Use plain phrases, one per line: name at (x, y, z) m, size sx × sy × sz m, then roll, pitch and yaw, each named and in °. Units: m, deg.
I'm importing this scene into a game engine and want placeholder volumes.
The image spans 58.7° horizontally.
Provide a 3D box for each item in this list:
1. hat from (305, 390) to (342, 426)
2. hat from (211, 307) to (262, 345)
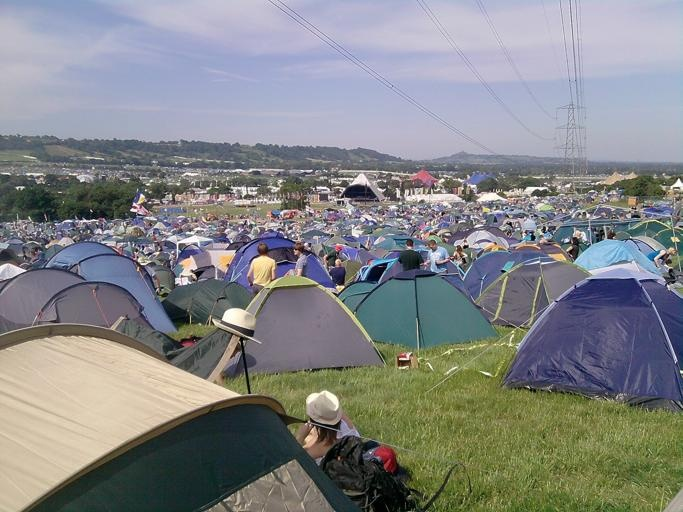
hat at (-0.177, 1.337, 5.405) m, size 0.287 × 0.107 × 0.303 m, roll -16°, pitch 52°, yaw -42°
hat at (-0.946, 0.591, 5.490) m, size 0.389 × 0.143 × 0.335 m, roll 20°, pitch 1°, yaw -6°
